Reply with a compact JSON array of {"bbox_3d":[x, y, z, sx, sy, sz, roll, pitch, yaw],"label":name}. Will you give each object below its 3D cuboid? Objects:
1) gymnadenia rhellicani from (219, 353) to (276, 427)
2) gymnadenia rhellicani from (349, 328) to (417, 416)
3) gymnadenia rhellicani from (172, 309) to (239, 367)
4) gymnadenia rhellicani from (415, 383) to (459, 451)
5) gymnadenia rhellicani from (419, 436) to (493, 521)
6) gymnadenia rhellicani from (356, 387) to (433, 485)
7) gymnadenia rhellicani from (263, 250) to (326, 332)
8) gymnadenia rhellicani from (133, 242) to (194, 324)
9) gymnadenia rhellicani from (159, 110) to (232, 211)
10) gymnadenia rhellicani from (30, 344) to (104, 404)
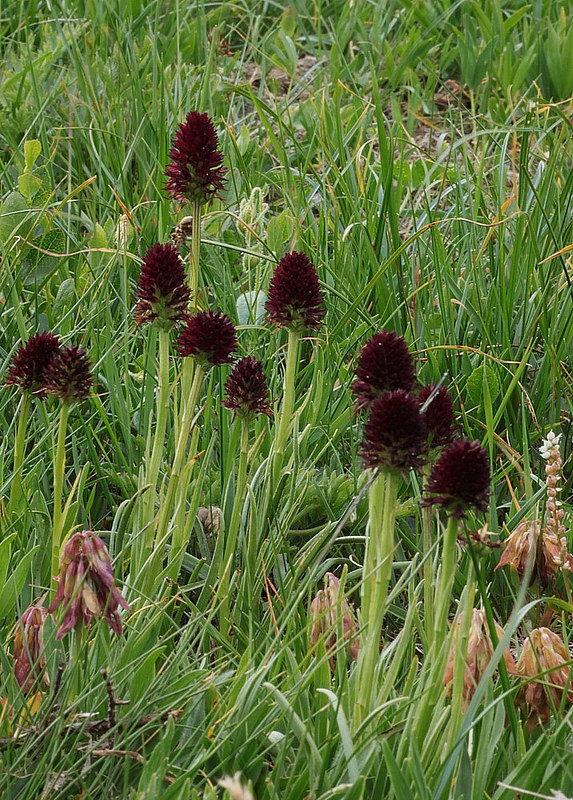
[{"bbox_3d":[-0.058,-0.019,1.684,0.067,0.139,0.078,-2,8,-3],"label":"gymnadenia rhellicani"},{"bbox_3d":[0.121,-0.045,1.406,0.074,0.144,0.082,-15,27,-28],"label":"gymnadenia rhellicani"},{"bbox_3d":[-0.115,-0.116,1.579,0.071,0.098,0.068,-17,27,-37],"label":"gymnadenia rhellicani"},{"bbox_3d":[0.208,0.021,1.477,0.046,0.123,0.041,-10,8,-44],"label":"gymnadenia rhellicani"},{"bbox_3d":[0.190,0.082,1.197,0.072,0.077,0.096,0,48,12],"label":"gymnadenia rhellicani"},{"bbox_3d":[0.124,0.038,1.215,0.054,0.101,0.084,3,45,-2],"label":"gymnadenia rhellicani"},{"bbox_3d":[0.017,-0.158,1.702,0.063,0.148,0.087,4,10,12],"label":"gymnadenia rhellicani"},{"bbox_3d":[-0.177,-0.184,1.606,0.075,0.189,0.098,2,12,9],"label":"gymnadenia rhellicani"},{"bbox_3d":[-0.131,-0.369,1.730,0.097,0.226,0.120,1,6,18],"label":"gymnadenia rhellicani"},{"bbox_3d":[-0.313,-0.042,1.538,0.063,0.118,0.068,22,19,35],"label":"gymnadenia rhellicani"}]
